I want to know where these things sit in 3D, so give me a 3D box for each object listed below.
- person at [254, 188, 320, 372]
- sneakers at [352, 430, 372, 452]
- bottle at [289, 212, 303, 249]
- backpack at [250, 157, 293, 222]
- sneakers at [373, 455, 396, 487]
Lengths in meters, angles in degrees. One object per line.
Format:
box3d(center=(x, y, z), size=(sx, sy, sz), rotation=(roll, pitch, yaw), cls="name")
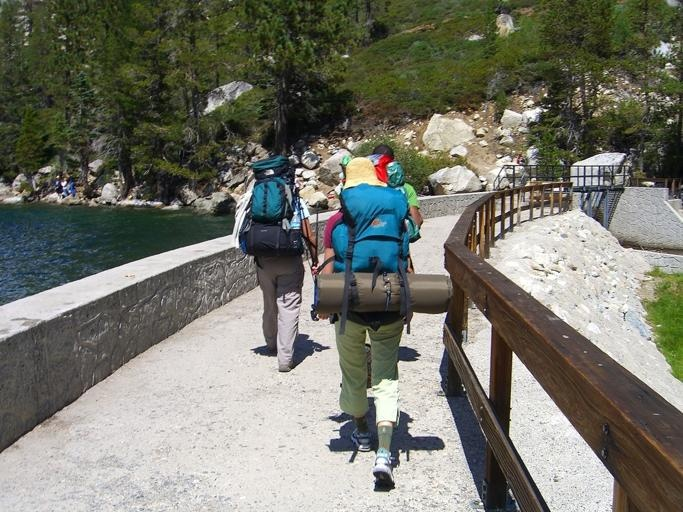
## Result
box3d(center=(-0.585, 0.283, 5.841), size=(0.749, 1.834, 0.686), rotation=(2, 10, 10), cls="person")
box3d(center=(0.154, 1.425, 4.159), size=(0.078, 0.111, 0.224), rotation=(2, -7, -12), cls="sneakers")
box3d(center=(-0.470, -0.257, 5.561), size=(0.129, 0.411, 0.126), rotation=(1, 9, 0), cls="bottle")
box3d(center=(-0.715, -0.688, 5.587), size=(0.433, 0.672, 0.370), rotation=(0, 10, -6), cls="backpack")
box3d(center=(0.294, 1.441, 3.690), size=(0.145, 0.265, 0.262), rotation=(2, 10, 6), cls="sneakers")
